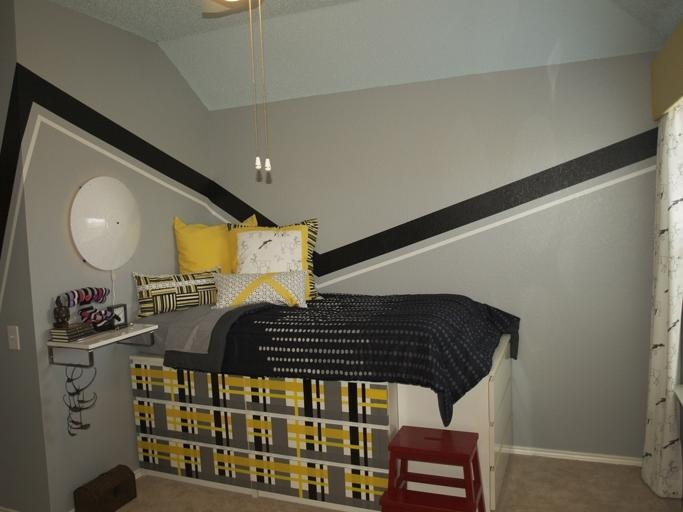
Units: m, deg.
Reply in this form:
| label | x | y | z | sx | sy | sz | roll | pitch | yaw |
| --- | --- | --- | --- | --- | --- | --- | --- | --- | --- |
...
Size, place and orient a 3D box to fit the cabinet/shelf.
| label | x | y | z | sx | sy | sz | roll | pitch | yaw |
| --- | --- | --- | --- | --- | --- | --- | --- | --- | --- |
| cabinet/shelf | 0.775 | 0.953 | 3.726 | 0.662 | 0.950 | 1.322 | -1 | 1 | 16 |

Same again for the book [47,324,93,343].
| label | x | y | z | sx | sy | sz | roll | pitch | yaw |
| --- | --- | --- | --- | --- | --- | --- | --- | --- | --- |
| book | -1.635 | 0.453 | 3.467 | 0.115 | 0.061 | 0.168 | -2 | -1 | 22 |

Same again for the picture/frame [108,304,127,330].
| label | x | y | z | sx | sy | sz | roll | pitch | yaw |
| --- | --- | --- | --- | --- | --- | --- | --- | --- | --- |
| picture/frame | -1.440 | 0.399 | 3.645 | 0.046 | 0.132 | 0.128 | -4 | 4 | 19 |
